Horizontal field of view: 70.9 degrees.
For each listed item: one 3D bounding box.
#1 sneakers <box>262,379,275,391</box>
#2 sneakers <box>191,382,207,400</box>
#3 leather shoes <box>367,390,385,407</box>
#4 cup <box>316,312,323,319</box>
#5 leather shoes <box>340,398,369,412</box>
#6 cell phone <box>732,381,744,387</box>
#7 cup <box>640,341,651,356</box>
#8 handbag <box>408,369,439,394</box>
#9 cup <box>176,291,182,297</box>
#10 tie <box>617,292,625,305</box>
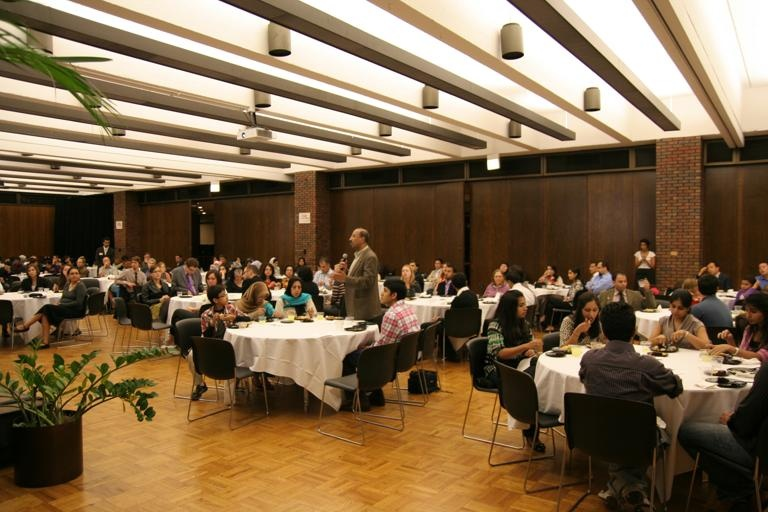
[{"bbox_3d":[-1.589,1.759,7.355,0.073,0.211,0.296,-19,9,-15],"label":"sneakers"},{"bbox_3d":[-2.457,1.798,7.126,0.137,0.118,0.279,-6,3,17],"label":"sneakers"},{"bbox_3d":[-0.096,1.823,6.938,0.251,0.221,0.228,-3,-1,3],"label":"leather shoes"},{"bbox_3d":[-0.884,0.824,7.458,0.092,0.067,0.092,-1,-8,0],"label":"cup"},{"bbox_3d":[-0.362,1.892,6.810,0.247,0.131,0.319,-1,-2,-23],"label":"leather shoes"},{"bbox_3d":[3.090,1.120,4.732,0.074,0.018,0.071,-2,1,-6],"label":"cell phone"},{"bbox_3d":[2.723,0.964,5.610,0.151,0.152,0.143,-1,-4,0],"label":"cup"},{"bbox_3d":[0.531,1.740,7.461,0.345,0.313,0.462,-2,-5,25],"label":"handbag"},{"bbox_3d":[-3.781,0.697,9.969,0.125,0.091,0.101,3,-2,9],"label":"cup"},{"bbox_3d":[3.242,0.569,7.379,0.129,0.194,0.048,-2,4,6],"label":"tie"}]
